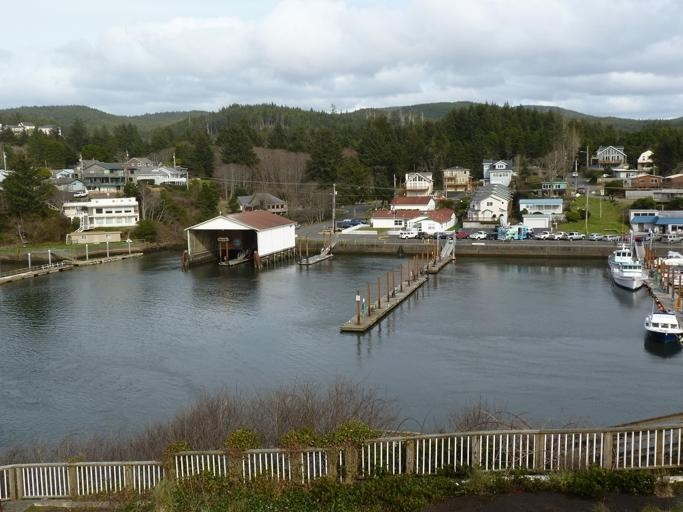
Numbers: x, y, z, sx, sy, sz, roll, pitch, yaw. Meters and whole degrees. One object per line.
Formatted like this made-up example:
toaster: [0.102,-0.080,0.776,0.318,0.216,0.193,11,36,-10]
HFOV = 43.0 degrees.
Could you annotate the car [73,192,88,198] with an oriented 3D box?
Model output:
car: [-26.754,-6.301,89.075,1.638,0.667,0.993,7,9,36]

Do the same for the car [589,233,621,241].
car: [21.194,-1.492,69.871,1.904,0.742,0.931,-4,8,-10]
